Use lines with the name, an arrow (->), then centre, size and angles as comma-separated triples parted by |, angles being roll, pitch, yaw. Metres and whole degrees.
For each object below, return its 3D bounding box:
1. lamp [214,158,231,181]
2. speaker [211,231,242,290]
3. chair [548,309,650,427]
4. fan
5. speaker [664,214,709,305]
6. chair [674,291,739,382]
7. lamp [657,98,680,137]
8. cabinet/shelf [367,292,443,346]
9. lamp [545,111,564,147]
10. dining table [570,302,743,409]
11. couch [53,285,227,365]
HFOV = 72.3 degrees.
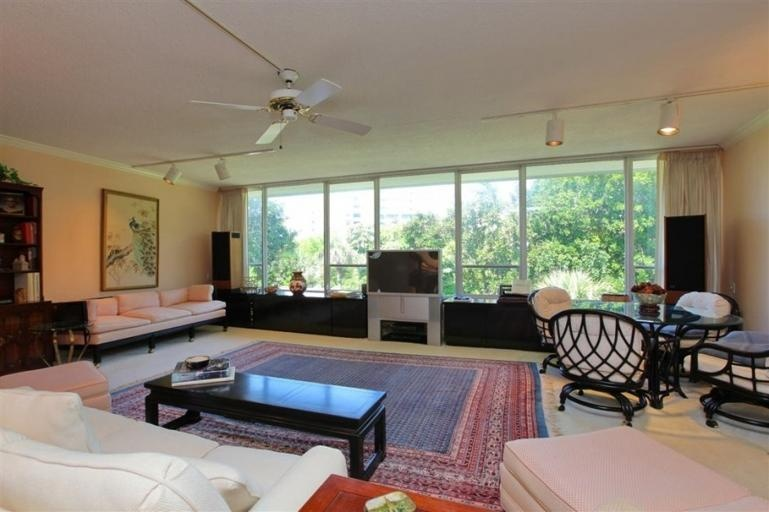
lamp -> -2.343, -1.268, 7.650 | 0.099, 0.394, 0.289 | -16, -43, 8
speaker -> -2.732, 0.067, 9.300 | 0.543, 0.983, 0.458 | -1, 7, -24
chair -> 2.284, 1.061, 5.506 | 1.006, 1.113, 1.111 | 2, 7, 38
fan -> -0.769, -1.439, 5.197 | 1.025, 0.328, 1.003 | -4, -5, 30
speaker -> 3.927, 0.043, 6.934 | 0.513, 1.152, 0.196 | 4, 7, 23
chair -> 3.460, 0.737, 5.704 | 0.665, 0.673, 0.663 | -18, -2, 40
lamp -> 3.019, -1.479, 5.609 | 0.179, 0.365, 0.303 | 4, 6, 24
cabinet/shelf -> 0.176, 0.934, 7.805 | 1.305, 0.707, 0.394 | 8, -16, -35
lamp -> 1.931, -1.442, 6.000 | 0.182, 0.380, 0.462 | 3, 5, 15
dining table -> 2.883, 1.048, 5.534 | 1.220, 0.652, 1.104 | 11, -2, 12
couch -> -3.390, 0.892, 7.725 | 0.818, 0.751, 2.436 | 1, 3, 22
